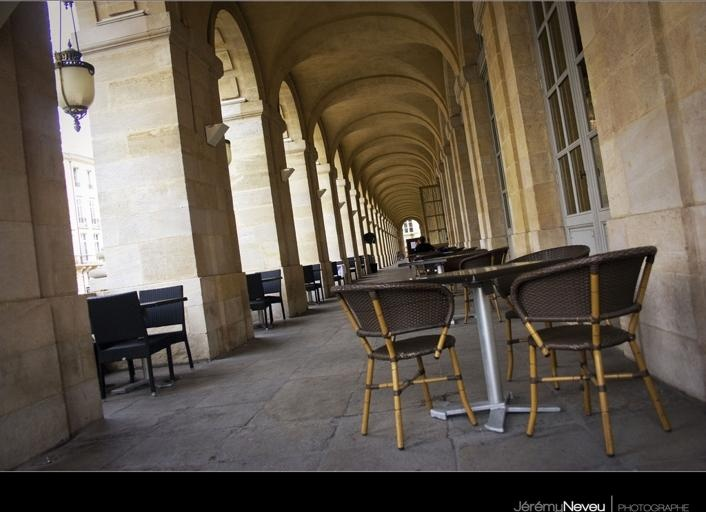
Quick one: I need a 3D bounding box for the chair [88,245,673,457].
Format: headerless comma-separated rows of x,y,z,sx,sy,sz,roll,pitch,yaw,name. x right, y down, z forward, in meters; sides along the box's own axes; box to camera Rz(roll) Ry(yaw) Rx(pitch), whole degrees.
0.982,0.534,3.404,1.805,1.126,0.955,-6,10,19,chair
